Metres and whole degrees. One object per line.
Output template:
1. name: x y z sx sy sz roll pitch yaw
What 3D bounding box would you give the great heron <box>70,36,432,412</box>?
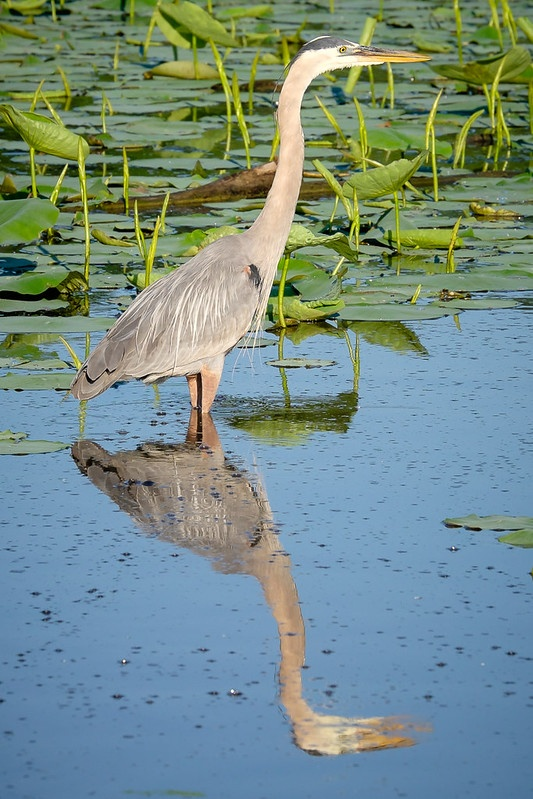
1. great heron: -0.202 -0.773 4.212 0.449 1.588 1.321 14 18 28
